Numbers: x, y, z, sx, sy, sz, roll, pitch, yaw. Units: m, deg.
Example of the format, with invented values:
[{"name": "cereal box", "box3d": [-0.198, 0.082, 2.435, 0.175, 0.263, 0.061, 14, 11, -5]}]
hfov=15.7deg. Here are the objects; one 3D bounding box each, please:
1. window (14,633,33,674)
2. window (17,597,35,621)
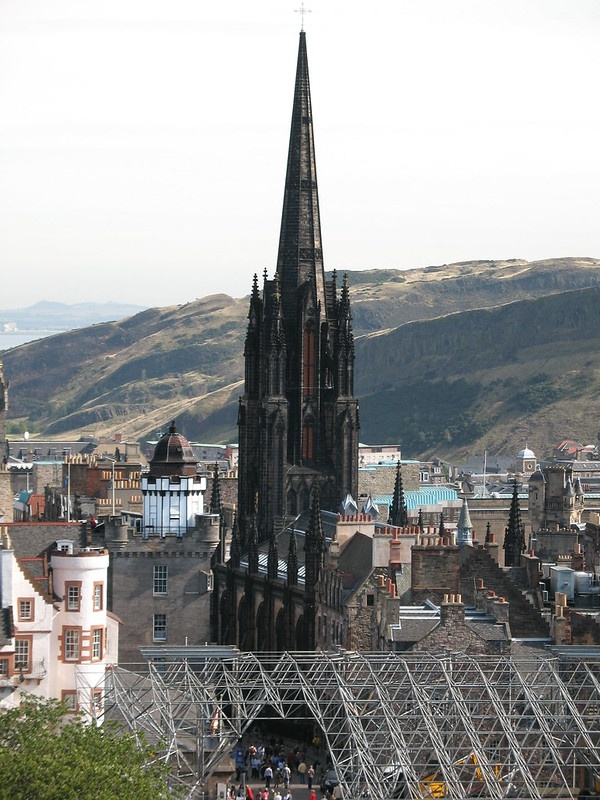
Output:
[{"name": "window", "box3d": [-12.887, 12.020, 101.346, 0.964, 1.651, 0.805, -2, 1, -25]}, {"name": "window", "box3d": [-12.910, 9.957, 101.799, 0.968, 1.414, 0.131, 6, -22, -18]}]
